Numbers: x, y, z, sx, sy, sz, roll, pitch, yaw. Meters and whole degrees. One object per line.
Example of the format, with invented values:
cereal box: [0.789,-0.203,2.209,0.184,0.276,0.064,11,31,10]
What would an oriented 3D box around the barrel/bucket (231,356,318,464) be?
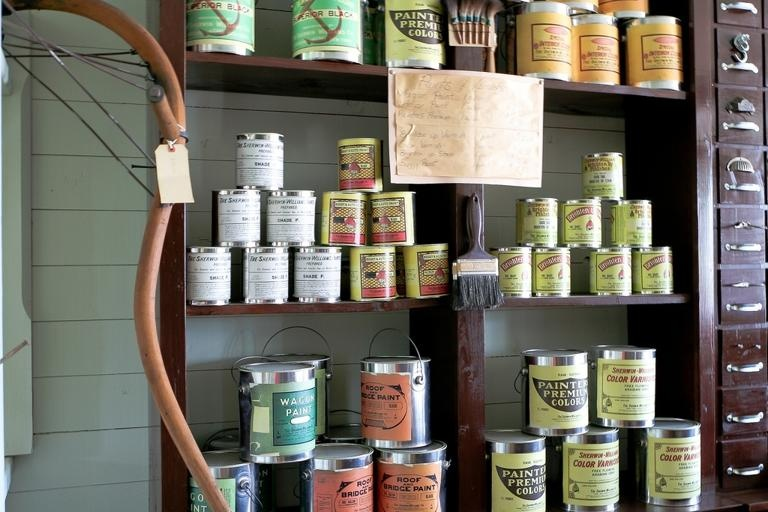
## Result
barrel/bucket: [-0.304,0.458,2.685,0.311,0.263,0.288,0,-1,0]

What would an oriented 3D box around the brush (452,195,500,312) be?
brush: [0.287,-0.015,2.668,0.198,0.354,0.069,-7,3,-31]

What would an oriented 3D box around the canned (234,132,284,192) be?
canned: [-0.365,-0.289,2.714,0.193,0.168,0.172,1,-1,-8]

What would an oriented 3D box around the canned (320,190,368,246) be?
canned: [-0.120,-0.115,2.666,0.186,0.161,0.166,0,-3,7]

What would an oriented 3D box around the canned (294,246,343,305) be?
canned: [-0.198,0.055,2.620,0.187,0.158,0.170,1,-1,-17]

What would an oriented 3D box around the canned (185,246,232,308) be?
canned: [-0.543,0.065,2.521,0.181,0.156,0.168,2,-2,-30]

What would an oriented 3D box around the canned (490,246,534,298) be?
canned: [0.408,0.048,2.739,0.173,0.142,0.154,-1,-1,-7]

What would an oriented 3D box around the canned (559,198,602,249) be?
canned: [0.635,-0.108,2.846,0.176,0.150,0.156,1,-3,-2]

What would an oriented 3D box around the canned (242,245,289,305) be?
canned: [-0.365,0.051,2.492,0.186,0.154,0.165,1,-1,-10]

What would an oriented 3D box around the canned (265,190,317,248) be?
canned: [-0.277,-0.117,2.704,0.189,0.159,0.171,1,-2,-16]

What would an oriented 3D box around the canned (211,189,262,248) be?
canned: [-0.438,-0.111,2.596,0.193,0.168,0.173,1,-1,-17]
